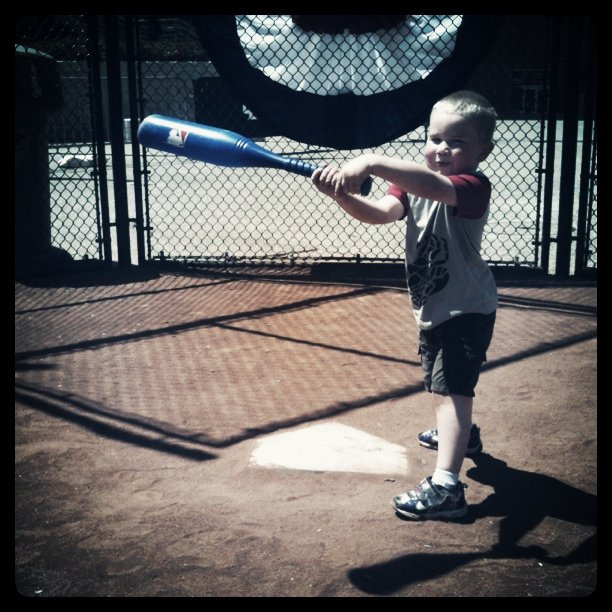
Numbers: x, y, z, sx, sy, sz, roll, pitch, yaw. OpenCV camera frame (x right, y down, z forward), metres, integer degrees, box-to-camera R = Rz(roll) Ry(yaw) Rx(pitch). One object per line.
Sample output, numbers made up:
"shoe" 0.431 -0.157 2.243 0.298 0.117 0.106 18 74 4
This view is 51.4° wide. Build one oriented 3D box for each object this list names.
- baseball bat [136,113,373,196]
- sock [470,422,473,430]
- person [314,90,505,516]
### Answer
"baseball bat" -0.205 -0.454 1.797 0.573 0.175 0.143 5 8 22
"sock" 0.593 0.424 2.277 0.008 0.029 0.033 7 0 17
"person" 0.428 -0.044 2.280 0.493 1.305 1.451 6 8 17
